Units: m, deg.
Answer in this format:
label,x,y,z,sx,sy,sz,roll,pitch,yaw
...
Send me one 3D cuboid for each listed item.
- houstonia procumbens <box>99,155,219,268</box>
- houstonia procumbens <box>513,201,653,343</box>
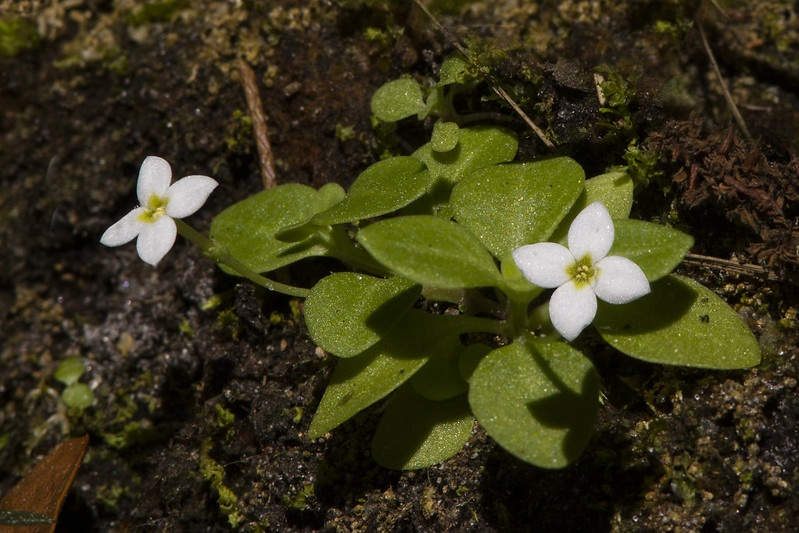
label,x,y,z,sx,sy,sz,roll,pitch,yaw
houstonia procumbens,-1.408,-0.320,4.781,0.541,0.151,0.603,21,76,17
houstonia procumbens,1.009,0.025,4.468,0.584,0.172,0.574,-31,68,-1
